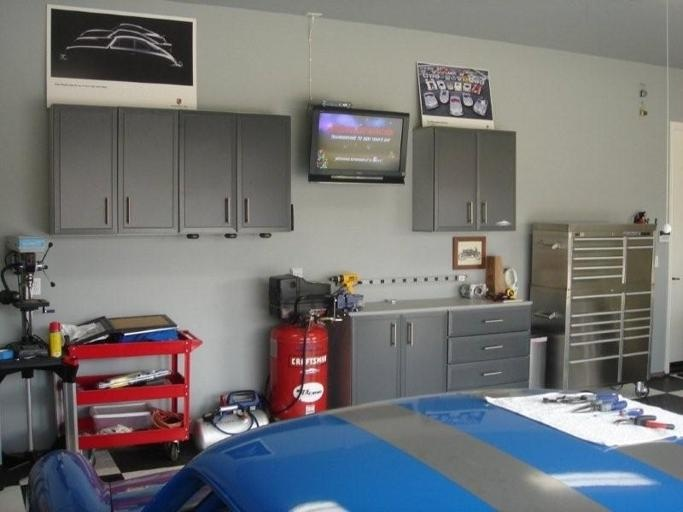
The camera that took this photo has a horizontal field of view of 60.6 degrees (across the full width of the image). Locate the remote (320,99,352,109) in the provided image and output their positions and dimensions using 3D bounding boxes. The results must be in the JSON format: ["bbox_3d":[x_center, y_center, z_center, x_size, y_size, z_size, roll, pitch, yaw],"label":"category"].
[{"bbox_3d":[-0.056,-1.212,4.644,0.154,0.039,0.148,1,5,-31],"label":"remote"}]

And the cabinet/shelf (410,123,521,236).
[{"bbox_3d":[1.080,-0.675,5.087,0.907,0.897,0.289,-2,1,-13],"label":"cabinet/shelf"}]

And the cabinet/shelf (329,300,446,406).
[{"bbox_3d":[0.443,0.811,4.728,0.801,0.749,0.315,0,3,-15],"label":"cabinet/shelf"}]

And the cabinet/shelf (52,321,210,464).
[{"bbox_3d":[-1.405,0.966,4.000,0.868,0.976,0.704,0,1,-26],"label":"cabinet/shelf"}]

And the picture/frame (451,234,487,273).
[{"bbox_3d":[1.148,-0.039,5.351,0.338,0.302,0.023,-2,7,-23],"label":"picture/frame"}]

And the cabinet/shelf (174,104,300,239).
[{"bbox_3d":[-0.759,-0.579,4.578,1.339,1.308,0.744,0,4,-12],"label":"cabinet/shelf"}]

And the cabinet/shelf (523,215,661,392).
[{"bbox_3d":[2.468,0.433,5.660,1.237,1.577,0.563,-3,7,-21],"label":"cabinet/shelf"}]
